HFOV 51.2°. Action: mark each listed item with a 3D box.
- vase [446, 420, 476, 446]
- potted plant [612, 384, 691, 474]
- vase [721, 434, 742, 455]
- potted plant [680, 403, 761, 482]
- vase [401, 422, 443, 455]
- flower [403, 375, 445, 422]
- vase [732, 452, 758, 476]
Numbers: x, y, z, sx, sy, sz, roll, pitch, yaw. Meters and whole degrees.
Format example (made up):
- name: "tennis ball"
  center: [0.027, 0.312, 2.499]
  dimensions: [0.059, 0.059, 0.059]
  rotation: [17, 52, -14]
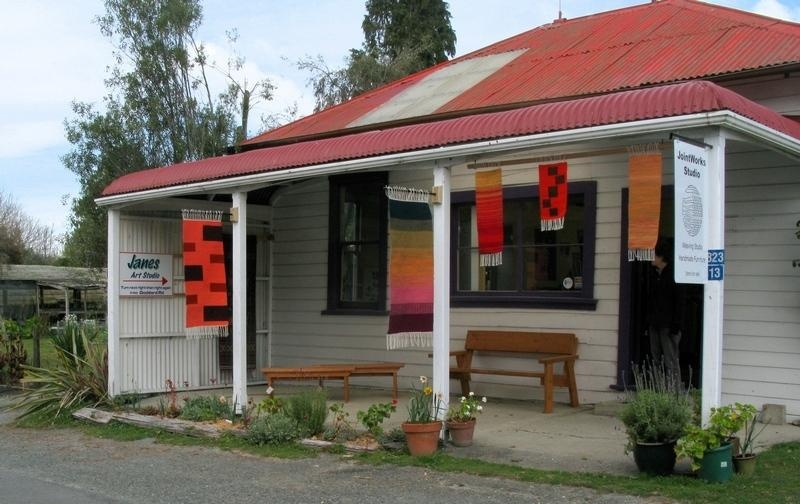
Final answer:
- name: "vase"
  center: [0.918, 2.665, 12.272]
  dimensions: [0.348, 0.277, 0.362]
  rotation: [0, -2, 2]
- name: "potted plant"
  center: [3.387, 2.396, 11.368]
  dimensions: [1.013, 1.169, 0.948]
  rotation: [5, -9, -20]
- name: "vase"
  center: [4.388, 2.554, 11.010]
  dimensions: [0.217, 0.326, 0.225]
  rotation: [-2, 6, -4]
- name: "potted plant"
  center: [4.207, 2.483, 11.212]
  dimensions: [1.007, 0.780, 1.071]
  rotation: [-5, -8, 4]
- name: "vase"
  center: [0.330, 2.665, 11.980]
  dimensions: [0.455, 0.362, 0.475]
  rotation: [0, -11, 3]
- name: "flower"
  center: [0.379, 2.233, 12.529]
  dimensions: [0.804, 0.820, 0.576]
  rotation: [7, -10, -32]
- name: "vase"
  center: [4.525, 2.773, 10.925]
  dimensions: [0.235, 0.170, 0.244]
  rotation: [0, -8, -10]
